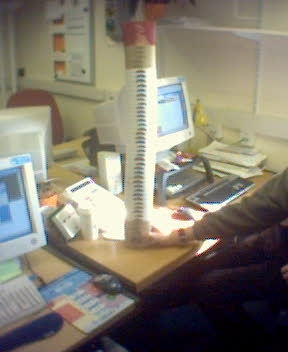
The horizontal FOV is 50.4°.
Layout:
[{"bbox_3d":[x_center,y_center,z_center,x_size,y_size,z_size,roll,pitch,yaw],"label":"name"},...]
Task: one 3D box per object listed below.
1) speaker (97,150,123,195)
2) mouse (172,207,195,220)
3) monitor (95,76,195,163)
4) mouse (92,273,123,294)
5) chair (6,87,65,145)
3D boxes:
[{"bbox_3d":[-0.173,-0.024,1.574,0.113,0.225,0.101,-16,19,-39],"label":"speaker"},{"bbox_3d":[0.169,0.155,1.308,0.056,0.013,0.054,3,20,23],"label":"mouse"},{"bbox_3d":[-0.008,-0.308,1.706,0.430,0.462,0.562,6,18,31],"label":"monitor"},{"bbox_3d":[-0.109,0.320,0.922,0.095,0.043,0.055,8,15,44],"label":"mouse"},{"bbox_3d":[-0.917,-0.556,2.984,0.532,0.538,0.678,-14,17,-18],"label":"chair"}]
